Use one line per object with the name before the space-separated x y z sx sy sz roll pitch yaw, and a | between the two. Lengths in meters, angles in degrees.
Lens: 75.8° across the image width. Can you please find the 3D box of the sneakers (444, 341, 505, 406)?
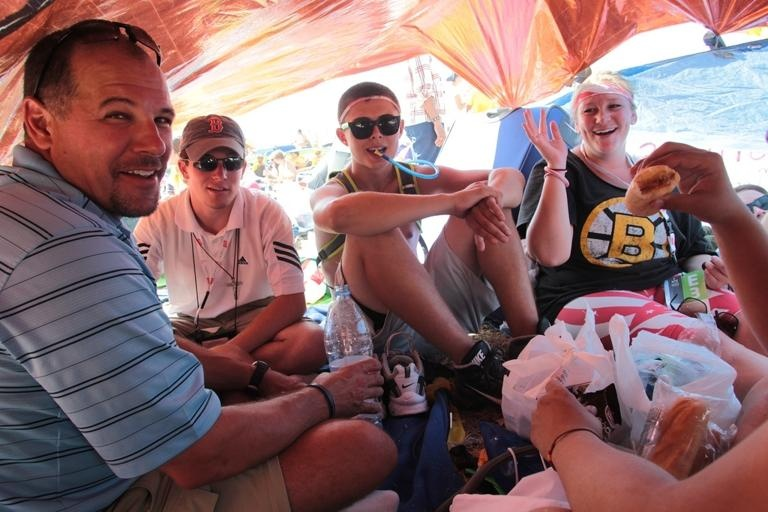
sneakers | 0.495 0.585 2.502 0.420 0.241 0.165 5 20 21

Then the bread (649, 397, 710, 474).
bread | 0.931 0.576 1.566 0.199 0.201 0.125 -15 9 -33

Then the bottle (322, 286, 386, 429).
bottle | -0.177 0.516 2.604 0.299 0.692 0.402 -1 7 -7
